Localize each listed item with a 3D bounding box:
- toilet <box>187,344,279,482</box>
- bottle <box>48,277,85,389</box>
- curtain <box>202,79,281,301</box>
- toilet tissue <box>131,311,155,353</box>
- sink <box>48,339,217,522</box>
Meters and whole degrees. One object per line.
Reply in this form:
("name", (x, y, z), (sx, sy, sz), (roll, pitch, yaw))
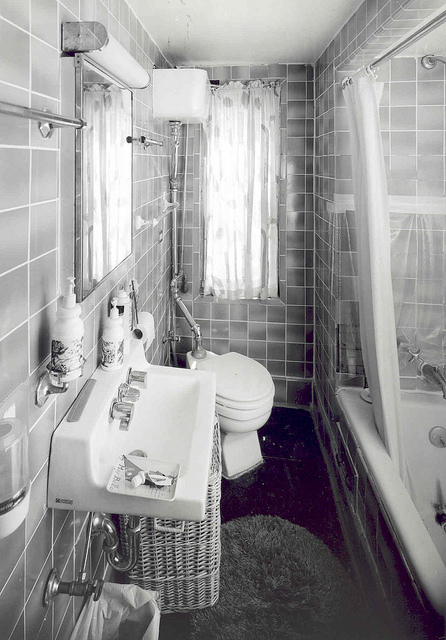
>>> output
("toilet", (0.049, 0.460, 2.325), (0.295, 0.544, 0.610), (-6, 17, -19))
("bottle", (-0.323, 0.039, 0.888), (0.072, 0.176, 0.055), (-6, 9, -31))
("curtain", (0.121, -0.804, 2.778), (0.487, 1.351, 0.082), (0, 7, 3))
("toilet tissue", (-0.316, 0.047, 1.694), (0.062, 0.082, 0.144), (9, 3, -4))
("sink", (-0.210, 0.251, 1.159), (0.364, 0.224, 0.669), (0, 12, 2))
